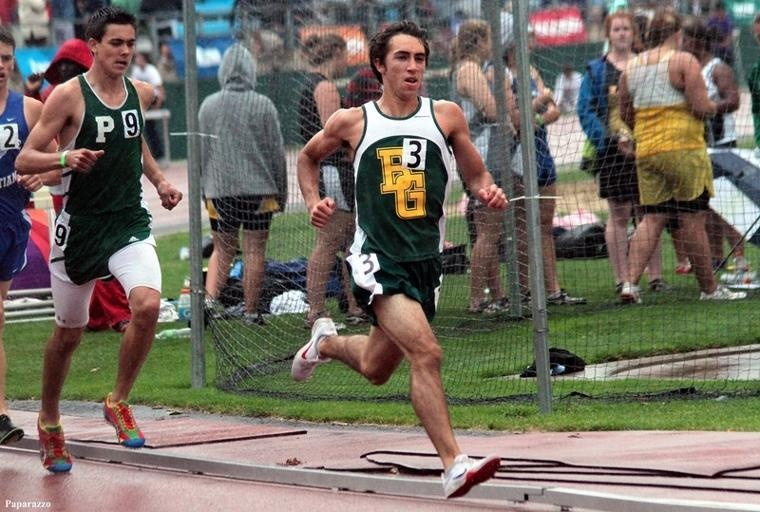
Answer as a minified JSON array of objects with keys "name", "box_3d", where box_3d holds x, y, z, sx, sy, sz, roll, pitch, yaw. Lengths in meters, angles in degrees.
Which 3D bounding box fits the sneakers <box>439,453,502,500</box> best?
[{"name":"sneakers","box_3d":[0.568,1.382,7.113,0.423,0.205,0.157,-39,-42,14]}]

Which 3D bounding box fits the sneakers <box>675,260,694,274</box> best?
[{"name":"sneakers","box_3d":[3.109,0.125,11.425,0.130,0.129,0.085,1,2,38]}]

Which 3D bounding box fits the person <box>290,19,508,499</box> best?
[{"name":"person","box_3d":[0.234,-0.071,7.559,1.042,2.964,1.549,-11,14,-29]}]

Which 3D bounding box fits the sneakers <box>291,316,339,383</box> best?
[{"name":"sneakers","box_3d":[-0.440,0.728,8.560,0.221,0.283,0.647,17,-54,-29]}]

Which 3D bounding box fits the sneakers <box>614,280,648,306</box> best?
[{"name":"sneakers","box_3d":[2.509,0.375,11.113,0.227,0.252,0.524,0,-4,16]}]

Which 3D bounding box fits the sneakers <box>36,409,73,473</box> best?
[{"name":"sneakers","box_3d":[-2.345,1.343,8.056,0.158,0.427,0.168,-11,-37,-28]}]
